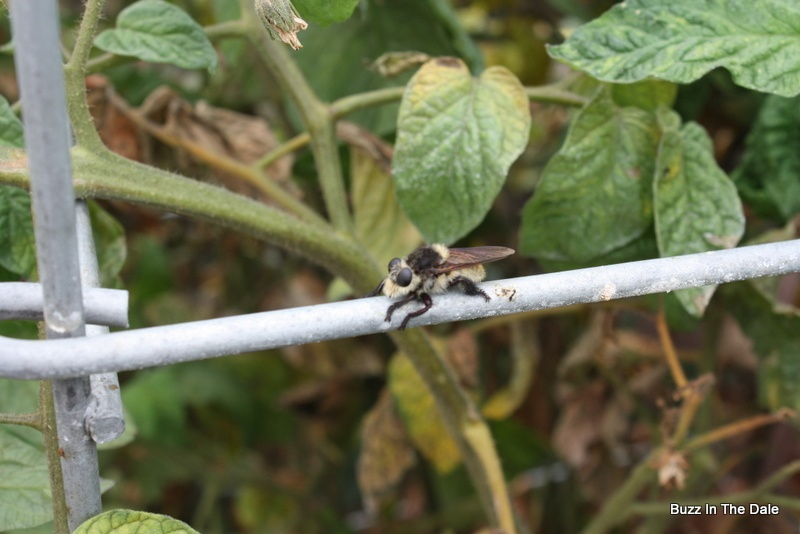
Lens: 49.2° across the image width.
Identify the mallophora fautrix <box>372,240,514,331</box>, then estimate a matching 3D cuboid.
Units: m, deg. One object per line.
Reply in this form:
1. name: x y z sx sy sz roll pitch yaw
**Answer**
1. mallophora fautrix: 0.046 0.019 0.985 0.164 0.061 0.172 -3 21 -3
